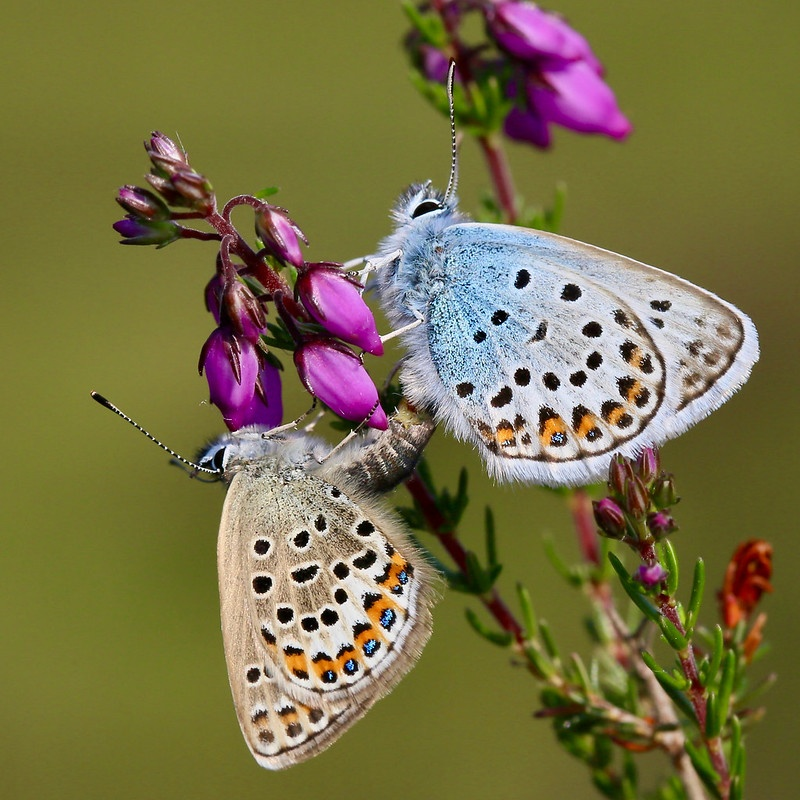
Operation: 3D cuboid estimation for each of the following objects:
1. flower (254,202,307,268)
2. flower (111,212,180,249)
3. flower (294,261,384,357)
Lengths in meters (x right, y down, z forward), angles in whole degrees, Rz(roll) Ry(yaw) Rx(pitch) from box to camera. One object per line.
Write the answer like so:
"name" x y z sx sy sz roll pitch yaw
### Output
"flower" -0.404 -0.515 3.585 0.186 0.058 0.184 5 62 -50
"flower" -0.836 -0.536 3.685 0.176 0.144 0.084 -6 81 -6
"flower" -0.208 -0.306 3.783 0.167 0.165 0.347 -36 80 -5
